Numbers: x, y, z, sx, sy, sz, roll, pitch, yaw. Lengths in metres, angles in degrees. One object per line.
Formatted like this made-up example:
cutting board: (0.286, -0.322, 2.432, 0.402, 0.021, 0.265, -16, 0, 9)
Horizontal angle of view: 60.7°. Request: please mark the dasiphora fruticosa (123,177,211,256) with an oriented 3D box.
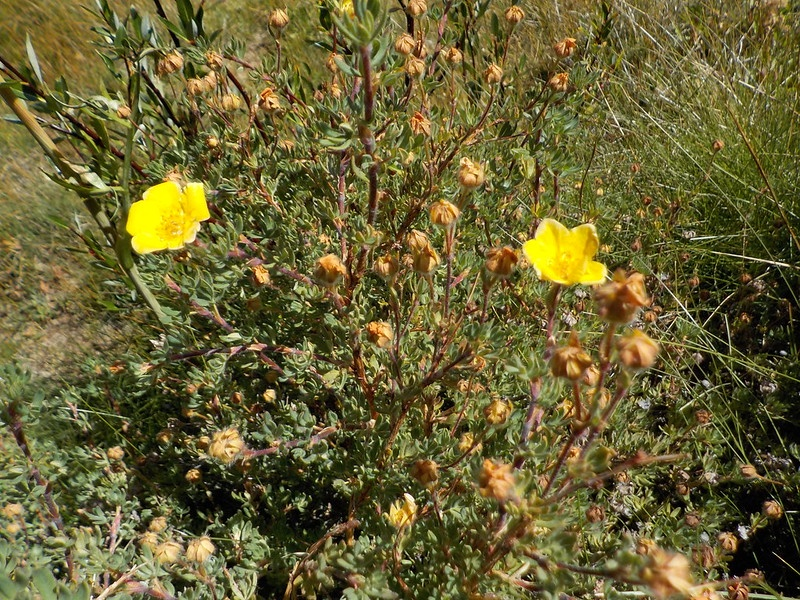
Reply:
dasiphora fruticosa: (-1.065, -0.375, 3.136, 0.328, 0.133, 0.384, 0, 64, 14)
